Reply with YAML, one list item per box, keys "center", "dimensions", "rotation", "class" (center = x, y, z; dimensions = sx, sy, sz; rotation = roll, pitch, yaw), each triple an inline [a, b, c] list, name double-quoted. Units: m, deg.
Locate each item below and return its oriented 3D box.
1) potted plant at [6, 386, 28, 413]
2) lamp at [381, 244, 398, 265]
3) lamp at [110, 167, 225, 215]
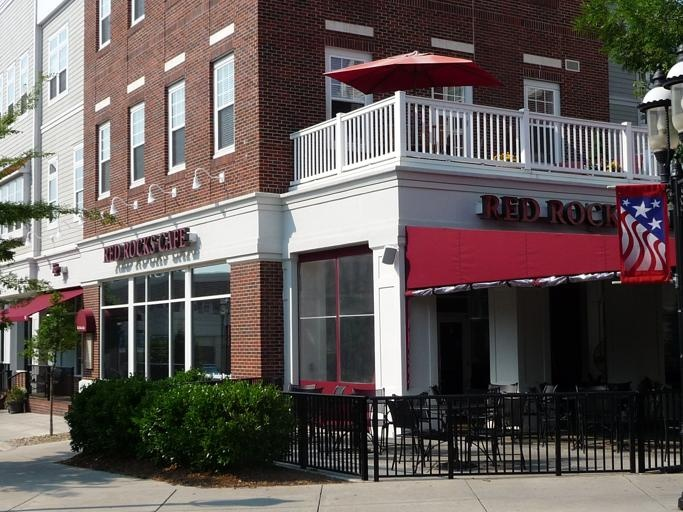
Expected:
- center: [-10.778, 4.699, 34.325]
  dimensions: [0.863, 0.957, 0.709]
  rotation: [-2, -3, 31]
  class: "potted plant"
- center: [1.060, -0.039, 22.579]
  dimensions: [0.308, 0.436, 0.270]
  rotation: [25, 12, 31]
  class: "lamp"
- center: [-4.639, -1.784, 28.519]
  dimensions: [0.609, 0.754, 5.197]
  rotation: [0, -12, -43]
  class: "lamp"
